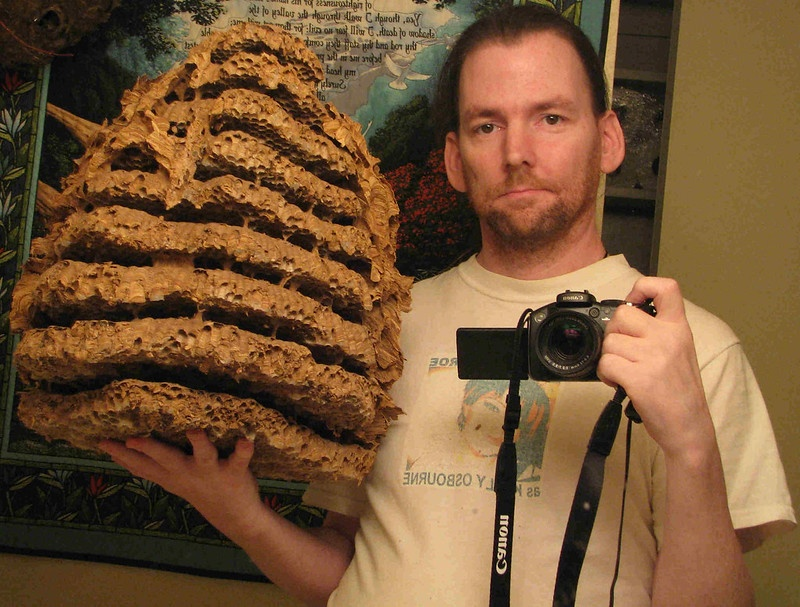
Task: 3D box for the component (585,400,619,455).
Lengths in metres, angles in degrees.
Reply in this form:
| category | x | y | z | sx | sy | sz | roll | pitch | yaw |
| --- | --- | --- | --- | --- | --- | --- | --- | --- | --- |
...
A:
| category | x | y | z | sx | sy | sz | roll | pitch | yaw |
| --- | --- | --- | --- | --- | --- | --- | --- | --- | --- |
| component | 0.460 | 0.272 | 1.924 | 0.046 | 0.036 | 0.174 | 13 | 34 | 18 |

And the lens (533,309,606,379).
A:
| category | x | y | z | sx | sy | sz | roll | pitch | yaw |
| --- | --- | --- | --- | --- | --- | --- | --- | --- | --- |
| lens | 0.364 | 0.085 | 1.899 | 0.153 | 0.147 | 0.055 | -1 | 1 | 20 |

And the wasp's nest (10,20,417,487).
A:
| category | x | y | z | sx | sy | sz | roll | pitch | yaw |
| --- | --- | --- | --- | --- | --- | --- | --- | --- | --- |
| wasp's nest | -0.389 | -0.161 | 2.123 | 0.909 | 1.003 | 0.647 | 6 | -8 | 4 |
